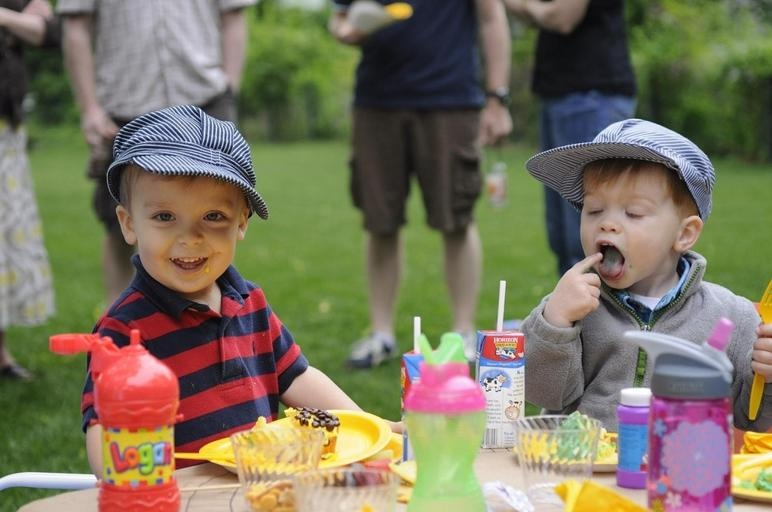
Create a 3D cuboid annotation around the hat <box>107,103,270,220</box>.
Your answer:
[{"bbox_3d":[-0.729,-0.401,4.217,0.432,0.316,0.541,5,-6,-28],"label":"hat"}]

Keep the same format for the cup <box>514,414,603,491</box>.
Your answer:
[{"bbox_3d":[0.559,0.622,3.674,0.242,0.203,0.236,0,0,0],"label":"cup"}]

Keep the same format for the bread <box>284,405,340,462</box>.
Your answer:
[{"bbox_3d":[-0.262,0.611,3.923,0.194,0.138,0.170,13,9,12],"label":"bread"}]

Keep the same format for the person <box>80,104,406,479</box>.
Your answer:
[{"bbox_3d":[-0.582,0.304,4.159,1.294,1.625,0.977,-3,4,-31],"label":"person"}]

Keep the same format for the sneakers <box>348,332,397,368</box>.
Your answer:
[{"bbox_3d":[-0.073,0.533,6.477,0.289,0.143,0.147,-14,21,-38],"label":"sneakers"}]

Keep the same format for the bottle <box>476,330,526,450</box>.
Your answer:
[{"bbox_3d":[0.412,0.427,3.996,0.176,0.469,0.166,-2,29,1],"label":"bottle"}]
